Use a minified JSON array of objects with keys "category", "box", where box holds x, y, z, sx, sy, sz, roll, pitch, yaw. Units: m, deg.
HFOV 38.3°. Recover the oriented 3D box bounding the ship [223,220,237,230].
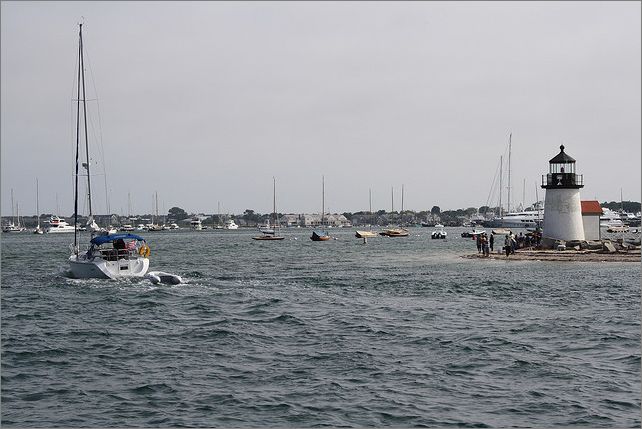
[{"category":"ship","box":[-29.924,3.591,303.079,2.821,2.275,5.459,0,-3,-6]}]
